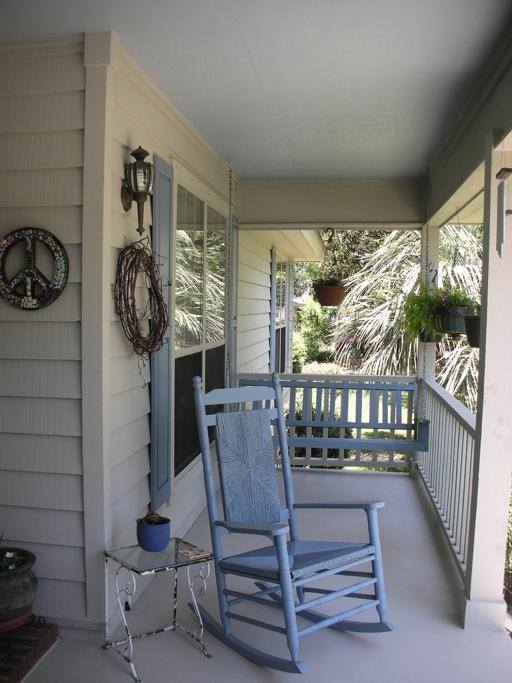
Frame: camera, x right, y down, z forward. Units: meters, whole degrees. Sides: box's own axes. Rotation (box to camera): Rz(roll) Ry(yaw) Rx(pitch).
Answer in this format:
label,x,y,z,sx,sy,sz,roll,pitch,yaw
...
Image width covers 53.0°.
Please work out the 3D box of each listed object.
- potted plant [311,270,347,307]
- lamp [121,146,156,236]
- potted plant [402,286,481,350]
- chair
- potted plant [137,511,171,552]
label,x,y,z,sx,sy,sz,roll,pitch,yaw
potted plant,0.802,-0.558,5.629,0.341,0.326,0.316,1,0,6
lamp,-0.507,-0.638,2.233,0.123,0.319,0.318,1,0,-5
potted plant,1.308,-0.185,3.606,0.423,0.372,0.486,0,0,-4
chair,0.119,0.681,2.059,0.659,1.086,0.786,-3,-8,-12
potted plant,-0.407,0.735,1.993,0.106,0.105,0.125,1,-24,-8
